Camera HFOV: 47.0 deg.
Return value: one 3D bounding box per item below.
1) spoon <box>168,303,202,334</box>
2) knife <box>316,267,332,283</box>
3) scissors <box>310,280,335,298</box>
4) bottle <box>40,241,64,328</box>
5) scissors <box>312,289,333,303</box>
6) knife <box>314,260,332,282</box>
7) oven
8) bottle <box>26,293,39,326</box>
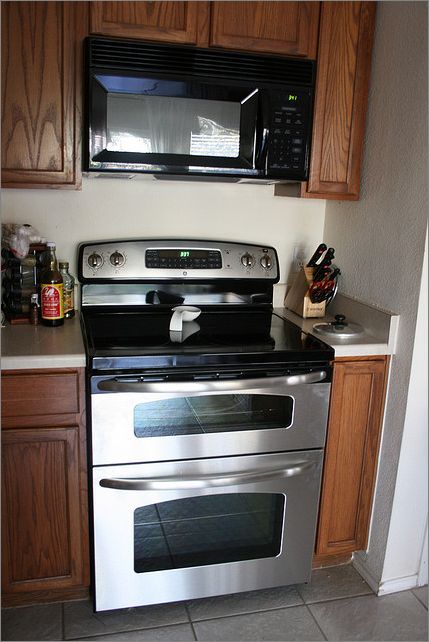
[{"bbox_3d":[-0.103,-0.017,1.608,0.062,0.051,0.105,8,27,15],"label":"spoon"},{"bbox_3d":[0.396,-0.174,1.784,0.035,0.088,0.027,24,30,33],"label":"knife"},{"bbox_3d":[0.391,-0.121,1.785,0.052,0.031,0.076,8,-14,-21],"label":"scissors"},{"bbox_3d":[-0.519,-0.116,1.581,0.071,0.266,0.085,-1,11,-20],"label":"bottle"},{"bbox_3d":[0.394,-0.092,1.804,0.067,0.042,0.022,-2,49,-5],"label":"scissors"},{"bbox_3d":[0.389,-0.182,1.796,0.032,0.115,0.043,-4,22,-33],"label":"knife"},{"bbox_3d":[-0.046,0.426,1.667,0.713,0.818,0.579,1,19,-5],"label":"oven"},{"bbox_3d":[-0.582,-0.043,1.607,0.029,0.103,0.075,-1,11,-21],"label":"bottle"}]
